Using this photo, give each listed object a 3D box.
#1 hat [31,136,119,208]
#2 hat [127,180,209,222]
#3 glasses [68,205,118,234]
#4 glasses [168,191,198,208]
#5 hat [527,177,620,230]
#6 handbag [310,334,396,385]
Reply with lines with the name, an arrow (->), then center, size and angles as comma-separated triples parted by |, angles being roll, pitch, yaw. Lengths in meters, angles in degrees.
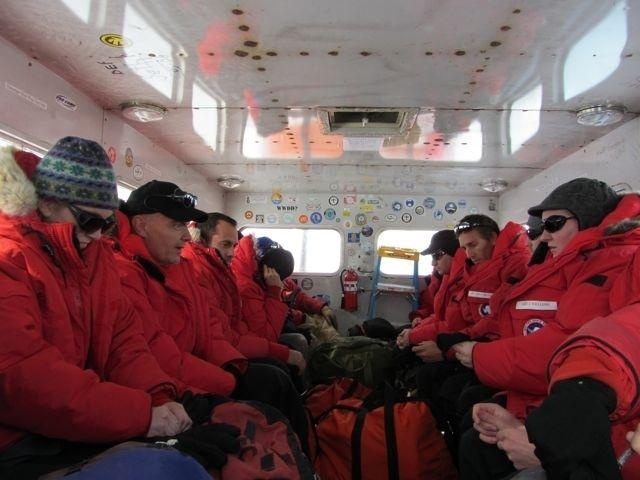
hat -> -1.167, -0.286, 2.165 | 0.398, 0.237, 0.369 | 18, -4, -33
hat -> -0.957, -0.238, 2.839 | 0.489, 0.188, 0.276 | 3, 2, -10
glasses -> -1.037, -0.086, 2.050 | 0.150, 0.052, 0.132 | 34, 11, 16
glasses -> -0.880, -0.255, 2.900 | 0.154, 0.041, 0.113 | 11, 6, 13
hat -> 1.515, -0.223, 2.789 | 0.501, 0.220, 0.297 | 10, -1, 24
handbag -> 0.309, 1.144, 4.364 | 0.734, 0.184, 0.484 | 1, -3, -19
